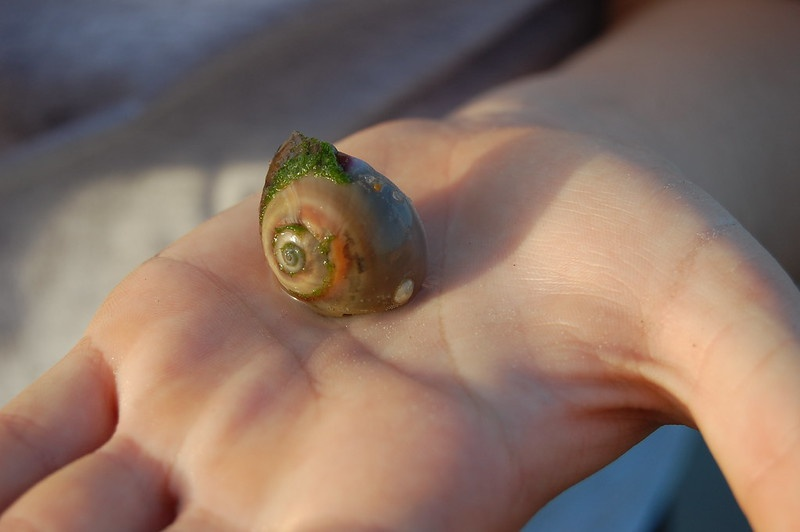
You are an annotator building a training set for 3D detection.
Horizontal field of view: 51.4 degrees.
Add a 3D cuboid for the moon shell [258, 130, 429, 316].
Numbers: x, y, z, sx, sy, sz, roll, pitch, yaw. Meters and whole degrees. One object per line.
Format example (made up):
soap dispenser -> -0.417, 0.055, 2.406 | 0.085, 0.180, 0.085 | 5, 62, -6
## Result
moon shell -> -0.087, -0.044, 1.168 | 0.251, 0.099, 0.211 | 24, 87, 15
